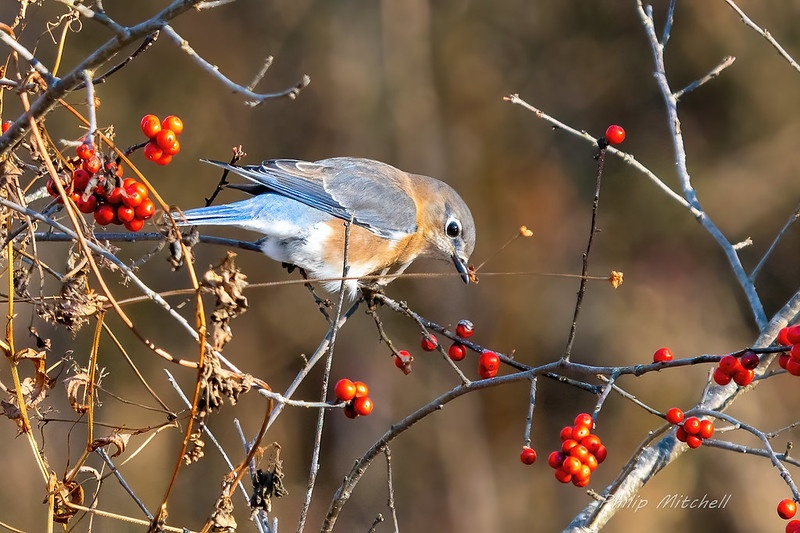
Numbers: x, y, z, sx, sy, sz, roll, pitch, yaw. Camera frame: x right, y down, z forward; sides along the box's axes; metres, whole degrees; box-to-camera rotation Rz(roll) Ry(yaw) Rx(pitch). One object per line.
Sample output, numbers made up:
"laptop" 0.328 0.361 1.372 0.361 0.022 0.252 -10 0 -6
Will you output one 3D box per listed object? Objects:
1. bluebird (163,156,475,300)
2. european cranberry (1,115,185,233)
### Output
"bluebird" -0.395 -0.305 8.379 2.085 1.561 0.631 21 -55 -9
"european cranberry" -1.822 -0.512 6.538 0.718 0.845 0.619 10 -55 -2
